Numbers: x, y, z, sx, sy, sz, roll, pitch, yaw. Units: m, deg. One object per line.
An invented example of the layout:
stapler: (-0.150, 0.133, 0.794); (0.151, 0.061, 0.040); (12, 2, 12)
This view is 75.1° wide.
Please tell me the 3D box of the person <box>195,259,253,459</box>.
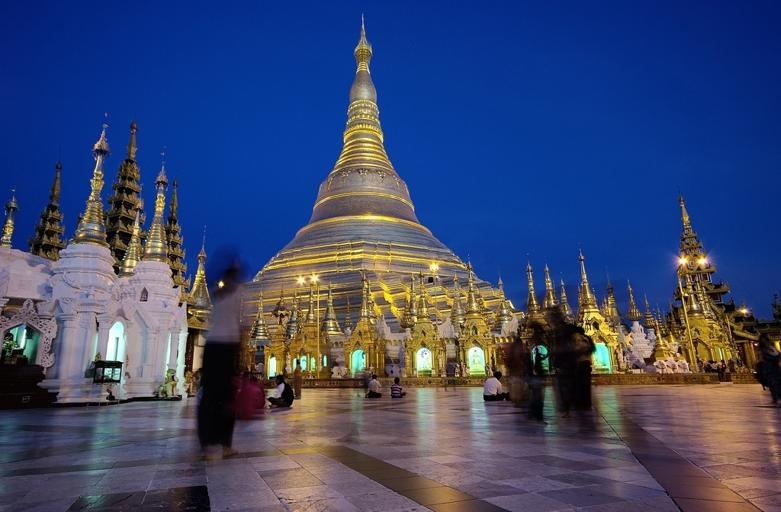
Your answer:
person: (-2.682, 1.538, 7.975); (0.606, 2.984, 0.503); (2, -17, -15)

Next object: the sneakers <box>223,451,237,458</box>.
sneakers: (-2.383, 2.920, 7.515); (0.185, 0.103, 0.184); (3, -16, -18)
